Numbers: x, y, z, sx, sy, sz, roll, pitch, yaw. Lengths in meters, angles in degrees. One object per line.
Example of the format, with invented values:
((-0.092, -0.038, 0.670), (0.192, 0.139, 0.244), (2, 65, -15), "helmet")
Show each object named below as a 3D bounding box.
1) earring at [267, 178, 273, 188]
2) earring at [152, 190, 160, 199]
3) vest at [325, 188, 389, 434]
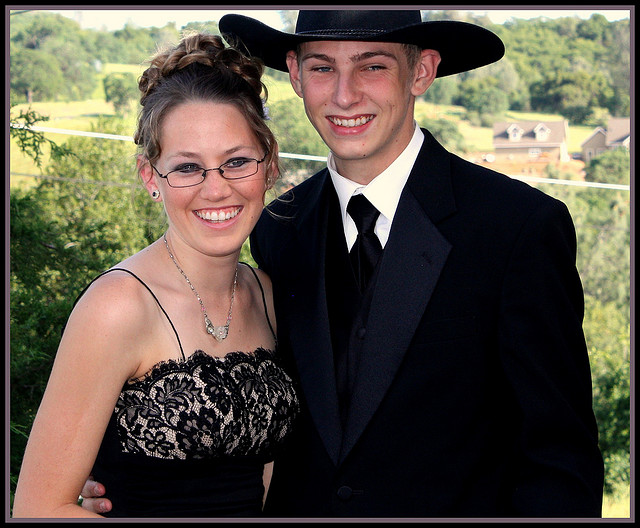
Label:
((-0.283, -0.451, 4.050), (0.010, 0.041, 0.042), (10, -3, 9), "earring")
((-0.898, -0.380, 3.984), (0.041, 0.044, 0.013), (2, -6, 4), "earring")
((0.179, 0.291, 4.016), (0.023, 1.081, 0.309), (26, -32, -35), "vest")
